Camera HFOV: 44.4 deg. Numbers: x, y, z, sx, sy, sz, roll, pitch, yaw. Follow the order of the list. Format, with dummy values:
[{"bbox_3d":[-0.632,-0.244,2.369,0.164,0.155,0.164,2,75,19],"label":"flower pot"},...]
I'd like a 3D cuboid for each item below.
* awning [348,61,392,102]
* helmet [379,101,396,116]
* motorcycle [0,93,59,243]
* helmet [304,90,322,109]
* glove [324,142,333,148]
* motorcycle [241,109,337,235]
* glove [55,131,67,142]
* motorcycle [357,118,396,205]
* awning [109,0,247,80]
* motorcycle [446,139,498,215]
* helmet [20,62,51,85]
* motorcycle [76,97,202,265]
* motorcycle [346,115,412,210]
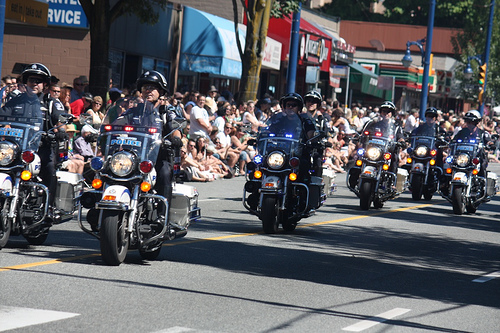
[{"bbox_3d":[10.278,-7.495,54.204,3.050,2.750,12.192,5,3,20],"label":"awning"},{"bbox_3d":[3.626,-1.603,16.190,0.334,0.329,0.421,7,-30,20],"label":"helmet"},{"bbox_3d":[-3.301,0.030,9.116,0.644,2.183,1.047,6,2,34],"label":"motorcycle"},{"bbox_3d":[1.311,-1.404,12.662,0.302,0.332,0.353,5,-2,8],"label":"helmet"},{"bbox_3d":[1.577,-0.440,12.377,0.171,0.167,0.166,-3,-1,18],"label":"glove"},{"bbox_3d":[0.774,0.085,12.331,1.851,2.021,1.615,3,2,-22],"label":"motorcycle"},{"bbox_3d":[-2.806,-0.451,9.181,0.132,0.134,0.044,-2,8,0],"label":"glove"},{"bbox_3d":[3.277,-0.121,15.858,1.150,2.034,0.799,3,2,-40],"label":"motorcycle"},{"bbox_3d":[-3.133,-6.156,28.910,6.481,2.758,2.854,3,2,-25],"label":"awning"},{"bbox_3d":[6.051,0.294,16.812,1.648,2.013,0.731,3,3,-42],"label":"motorcycle"},{"bbox_3d":[-3.229,-1.423,9.355,0.307,0.389,0.297,3,31,-4],"label":"helmet"},{"bbox_3d":[-1.622,0.229,8.559,1.655,1.664,0.860,3,3,-39],"label":"motorcycle"},{"bbox_3d":[3.395,-0.095,16.065,1.602,2.240,0.940,3,3,-43],"label":"motorcycle"}]
